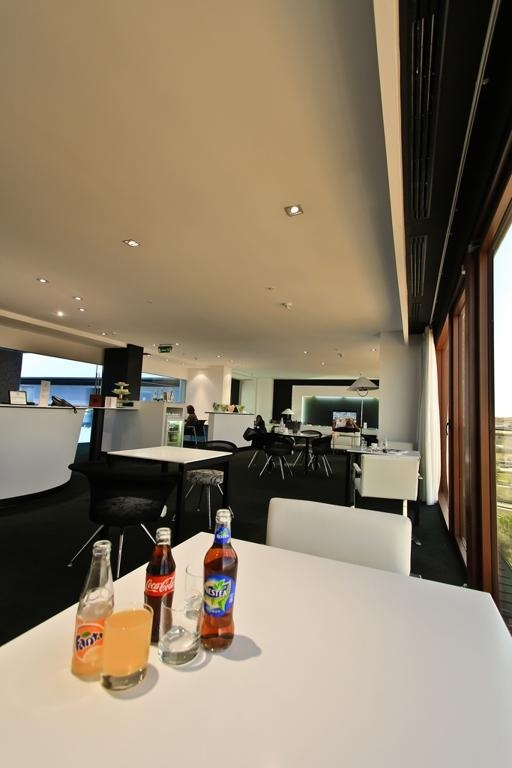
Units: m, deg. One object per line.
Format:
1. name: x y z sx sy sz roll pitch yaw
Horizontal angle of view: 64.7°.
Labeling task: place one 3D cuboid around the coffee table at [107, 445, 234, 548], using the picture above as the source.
1. coffee table: -0.530 0.698 3.059 0.604 0.578 0.674 0 -3 31

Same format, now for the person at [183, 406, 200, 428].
1. person: -1.728 0.925 11.394 0.431 0.817 0.456 1 3 -37

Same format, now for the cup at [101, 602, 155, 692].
1. cup: -0.188 0.376 0.584 0.055 0.085 0.077 0 -8 5

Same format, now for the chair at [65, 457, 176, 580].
1. chair: -0.751 0.770 2.405 0.525 0.721 0.614 9 1 41

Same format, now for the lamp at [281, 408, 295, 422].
1. lamp: 1.273 1.222 16.152 0.641 0.813 0.720 1 -5 -1

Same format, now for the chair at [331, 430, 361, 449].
1. chair: 2.429 1.458 10.653 0.855 0.730 0.546 -1 -10 13

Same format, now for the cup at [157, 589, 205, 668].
1. cup: -0.127 0.382 0.684 0.061 0.104 0.107 2 7 -13
